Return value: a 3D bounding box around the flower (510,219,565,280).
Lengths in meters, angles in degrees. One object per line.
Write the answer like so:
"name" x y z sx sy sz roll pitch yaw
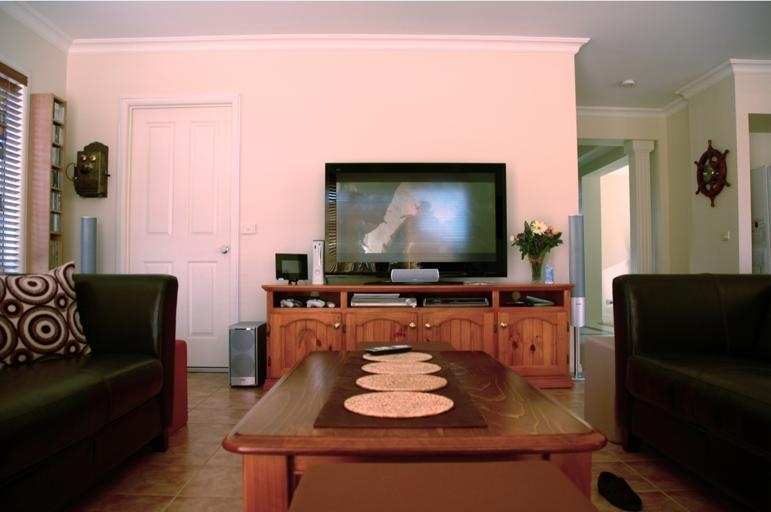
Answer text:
"flower" 1.323 -0.036 5.350 0.597 0.589 0.526 0 -2 -6

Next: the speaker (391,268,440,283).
"speaker" 0.280 0.177 5.115 0.426 0.138 0.214 -2 0 5

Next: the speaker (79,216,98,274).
"speaker" -2.741 -0.097 5.144 0.127 0.520 0.125 -3 -8 -10

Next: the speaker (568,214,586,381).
"speaker" 1.796 0.357 5.269 0.240 1.532 0.232 0 3 26

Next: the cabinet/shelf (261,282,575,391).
"cabinet/shelf" 0.298 0.703 5.054 2.629 0.962 0.590 -1 -2 -1
